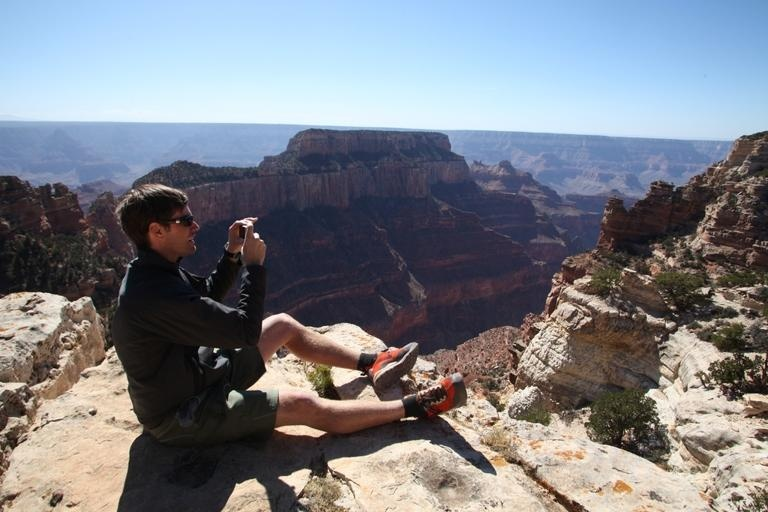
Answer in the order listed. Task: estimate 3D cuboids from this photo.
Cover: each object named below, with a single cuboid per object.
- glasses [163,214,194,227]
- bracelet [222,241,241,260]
[{"bbox_3d":[-2.536,-0.449,5.956,0.136,0.151,0.373,12,20,27],"label":"glasses"},{"bbox_3d":[-2.145,-0.042,6.674,0.211,0.248,0.111,25,50,27],"label":"bracelet"}]
